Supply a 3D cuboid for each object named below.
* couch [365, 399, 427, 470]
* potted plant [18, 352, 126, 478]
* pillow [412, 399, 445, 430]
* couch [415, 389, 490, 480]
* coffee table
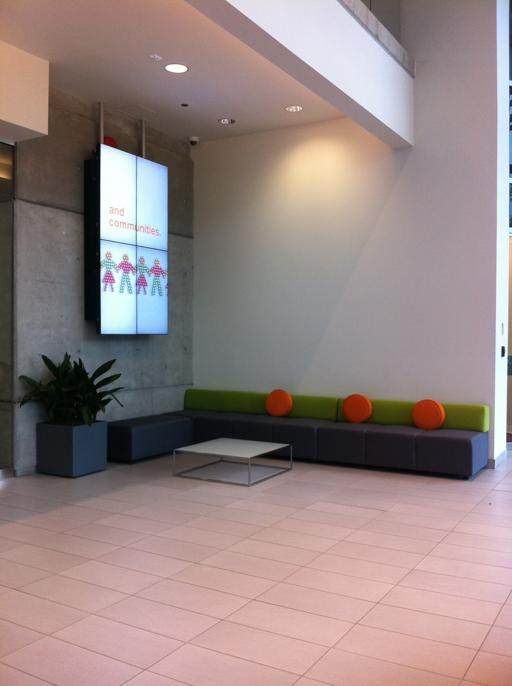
[{"bbox_3d":[1.447,0.941,5.662,0.668,0.621,0.647,-1,-5,27],"label":"couch"},{"bbox_3d":[-1.962,0.679,5.643,1.064,1.344,1.346,1,0,31],"label":"potted plant"},{"bbox_3d":[1.831,0.753,5.623,0.076,0.244,0.250,10,-21,-41],"label":"pillow"},{"bbox_3d":[1.926,0.964,5.480,0.771,0.683,0.592,-1,3,45],"label":"couch"},{"bbox_3d":[-0.230,1.170,5.483,1.189,0.323,1.540,0,-3,6],"label":"coffee table"}]
